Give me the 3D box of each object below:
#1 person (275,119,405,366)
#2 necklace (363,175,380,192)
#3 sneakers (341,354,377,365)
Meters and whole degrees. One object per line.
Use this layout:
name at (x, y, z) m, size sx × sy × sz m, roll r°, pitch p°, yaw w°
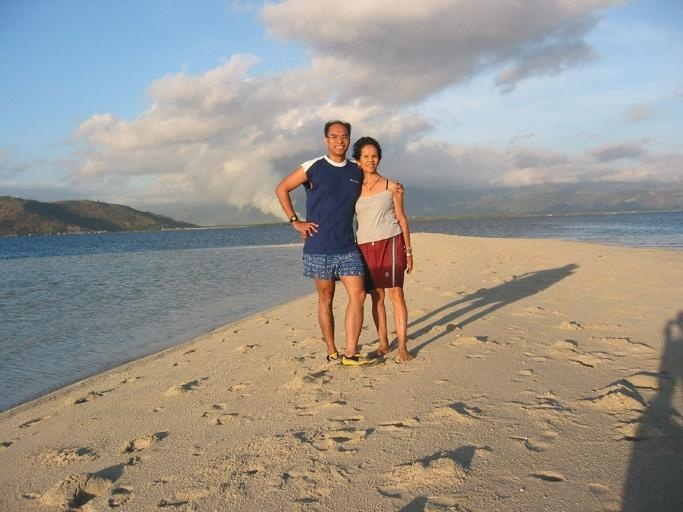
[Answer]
person at (-0.134, -0.086, 5.292) m, size 0.885 × 2.736 × 0.474 m, roll -5°, pitch 8°, yaw 3°
necklace at (0.339, -0.831, 5.430) m, size 0.188 × 0.182 × 0.073 m, roll -3°, pitch 18°, yaw -20°
sneakers at (0.197, 1.178, 5.360) m, size 0.399 × 0.144 × 0.146 m, roll -2°, pitch -1°, yaw 6°
